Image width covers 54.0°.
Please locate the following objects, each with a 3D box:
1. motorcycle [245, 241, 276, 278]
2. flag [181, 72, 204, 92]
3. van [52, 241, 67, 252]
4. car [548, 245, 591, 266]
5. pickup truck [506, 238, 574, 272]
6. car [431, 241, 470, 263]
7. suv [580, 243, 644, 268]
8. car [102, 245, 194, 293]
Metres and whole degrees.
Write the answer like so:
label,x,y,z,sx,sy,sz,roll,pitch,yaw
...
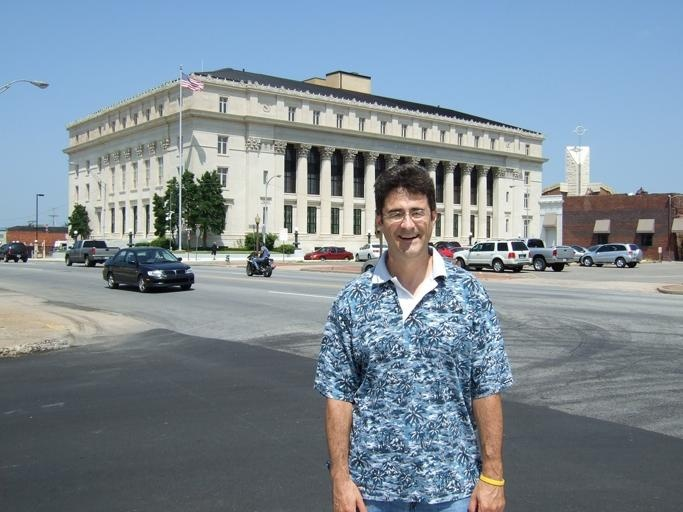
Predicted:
label,x,y,z,sx,sy,sz,roll,pitch,yaw
motorcycle,-4.320,0.381,34.878,0.829,1.298,2.112,1,1,-43
flag,-14.833,-17.093,65.745,1.833,1.107,2.501,0,1,-37
van,-40.928,-1.463,97.461,2.159,1.857,3.419,0,-2,-17
car,16.462,-0.049,48.605,3.340,1.178,1.445,-5,5,-42
pickup truck,12.571,-0.051,43.327,1.930,1.689,4.173,-1,6,-41
car,6.127,-0.318,37.264,1.724,1.451,3.778,0,6,10
suv,20.569,-0.100,51.398,2.028,1.746,4.112,0,3,-43
car,-7.444,0.468,25.555,1.606,1.237,3.549,0,-3,-38
